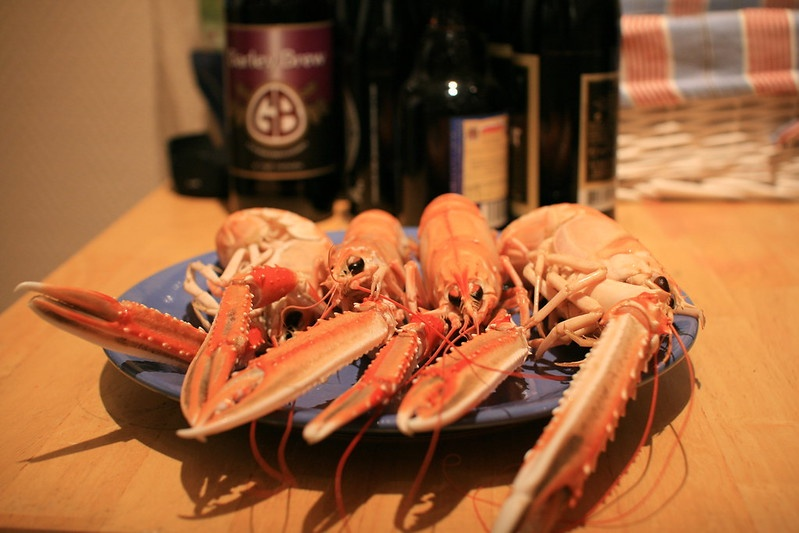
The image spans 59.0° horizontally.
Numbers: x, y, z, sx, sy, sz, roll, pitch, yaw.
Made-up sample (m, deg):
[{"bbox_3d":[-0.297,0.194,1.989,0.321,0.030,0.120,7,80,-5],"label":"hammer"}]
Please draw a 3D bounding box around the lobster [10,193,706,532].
[{"bbox_3d":[0.042,-0.069,0.959,0.538,0.155,0.628,13,26,29],"label":"lobster"}]
